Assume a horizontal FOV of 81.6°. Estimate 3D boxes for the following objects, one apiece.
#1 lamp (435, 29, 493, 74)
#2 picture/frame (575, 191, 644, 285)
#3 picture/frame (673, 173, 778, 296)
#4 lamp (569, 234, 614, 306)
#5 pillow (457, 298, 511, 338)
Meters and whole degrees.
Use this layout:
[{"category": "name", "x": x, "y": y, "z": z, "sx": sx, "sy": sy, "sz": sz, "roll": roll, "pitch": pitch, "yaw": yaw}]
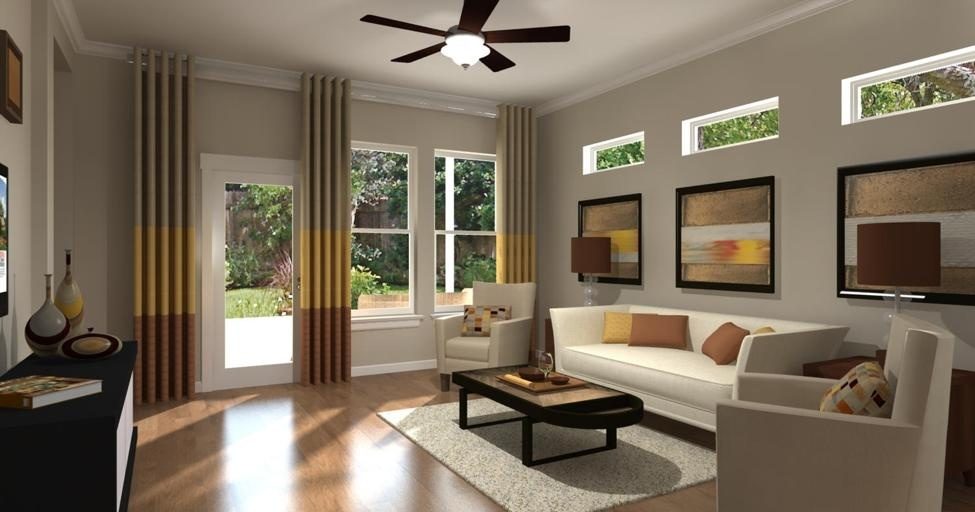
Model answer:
[{"category": "lamp", "x": -0.276, "y": -2.133, "z": 5.977, "sx": 0.423, "sy": 0.162, "sz": 0.389, "roll": 1, "pitch": -2, "yaw": -18}, {"category": "picture/frame", "x": 1.688, "y": -0.220, "z": 7.597, "sx": 0.111, "sy": 1.464, "sz": 1.459, "roll": 4, "pitch": -4, "yaw": -42}, {"category": "picture/frame", "x": 2.847, "y": -0.253, "z": 6.624, "sx": 1.699, "sy": 1.710, "sz": 0.141, "roll": -1, "pitch": -5, "yaw": 41}, {"category": "lamp", "x": 1.390, "y": 0.188, "z": 7.629, "sx": 0.523, "sy": 0.947, "sz": 0.516, "roll": 1, "pitch": 15, "yaw": 6}, {"category": "pillow", "x": -0.027, "y": 0.846, "z": 7.577, "sx": 1.007, "sy": 0.569, "sz": 0.347, "roll": 1, "pitch": -11, "yaw": 3}]
